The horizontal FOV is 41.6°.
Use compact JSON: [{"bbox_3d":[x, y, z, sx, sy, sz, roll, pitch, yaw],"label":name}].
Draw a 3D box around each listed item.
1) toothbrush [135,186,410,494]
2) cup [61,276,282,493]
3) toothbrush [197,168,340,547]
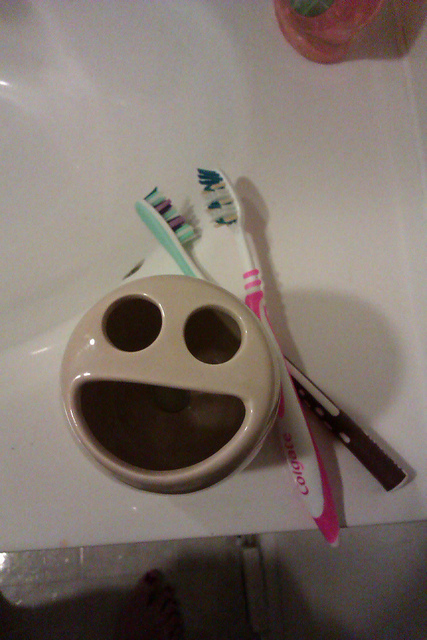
[{"bbox_3d":[0.062,0.025,0.514,0.048,0.044,0.379,-43,82,13],"label":"toothbrush"},{"bbox_3d":[-0.029,0.046,0.465,0.161,0.079,0.159,0,82,1],"label":"cup"},{"bbox_3d":[0.051,0.046,0.519,0.047,0.045,0.395,-5,68,-32],"label":"toothbrush"}]
